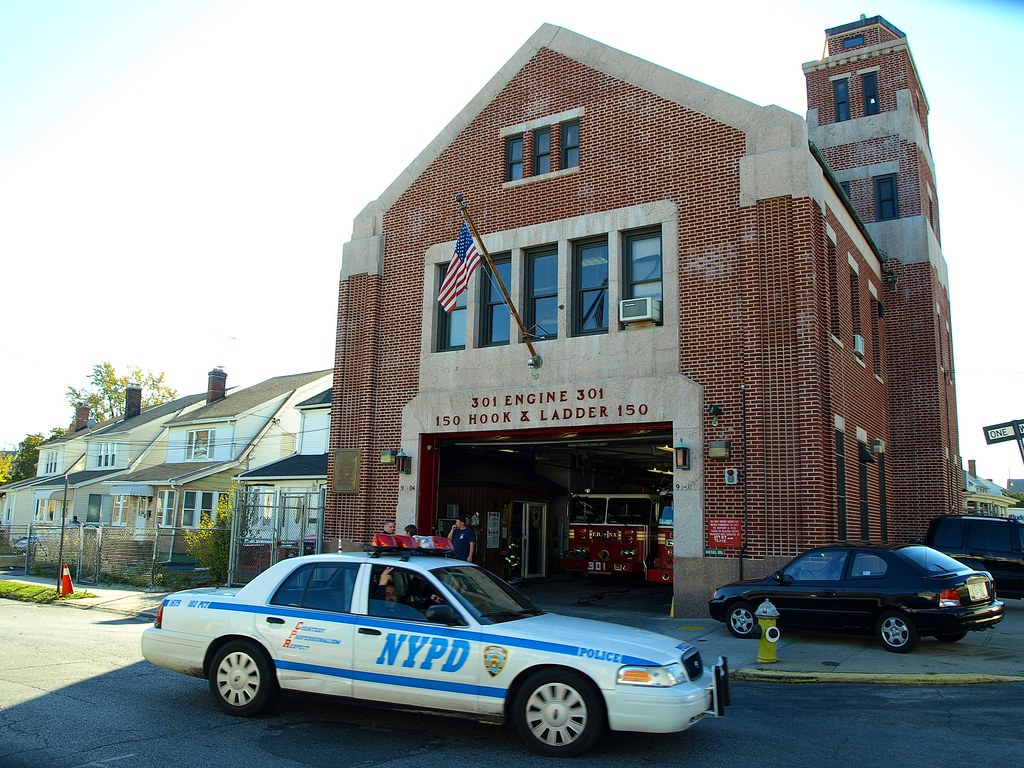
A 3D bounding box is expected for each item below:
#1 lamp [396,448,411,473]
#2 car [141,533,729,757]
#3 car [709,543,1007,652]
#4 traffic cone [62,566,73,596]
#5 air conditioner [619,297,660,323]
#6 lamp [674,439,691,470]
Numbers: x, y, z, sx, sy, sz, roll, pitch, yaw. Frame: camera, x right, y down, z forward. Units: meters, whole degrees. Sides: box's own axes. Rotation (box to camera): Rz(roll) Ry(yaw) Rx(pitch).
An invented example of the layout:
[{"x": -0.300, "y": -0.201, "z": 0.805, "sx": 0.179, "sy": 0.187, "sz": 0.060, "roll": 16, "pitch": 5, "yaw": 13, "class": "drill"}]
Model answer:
[{"x": -2.766, "y": 2.024, "z": 24.144, "sx": 0.386, "sy": 0.623, "sz": 0.201, "roll": -12, "pitch": -18, "yaw": 42, "class": "lamp"}, {"x": -1.167, "y": 2.951, "z": 11.823, "sx": 7.078, "sy": 1.946, "sz": 2.571, "roll": -4, "pitch": -10, "yaw": 24, "class": "car"}, {"x": 6.176, "y": 3.861, "z": 17.037, "sx": 2.044, "sy": 1.373, "sz": 4.725, "roll": 10, "pitch": -13, "yaw": -44, "class": "car"}, {"x": -12.396, "y": 5.564, "z": 26.126, "sx": 0.353, "sy": 0.760, "sz": 1.062, "roll": 6, "pitch": -14, "yaw": -25, "class": "traffic cone"}, {"x": 2.963, "y": -1.569, "z": 21.537, "sx": 1.123, "sy": 0.609, "sz": 0.596, "roll": -4, "pitch": -11, "yaw": 33, "class": "air conditioner"}, {"x": 3.754, "y": 1.598, "z": 20.512, "sx": 0.369, "sy": 0.628, "sz": 0.176, "roll": -4, "pitch": -14, "yaw": 13, "class": "lamp"}]
